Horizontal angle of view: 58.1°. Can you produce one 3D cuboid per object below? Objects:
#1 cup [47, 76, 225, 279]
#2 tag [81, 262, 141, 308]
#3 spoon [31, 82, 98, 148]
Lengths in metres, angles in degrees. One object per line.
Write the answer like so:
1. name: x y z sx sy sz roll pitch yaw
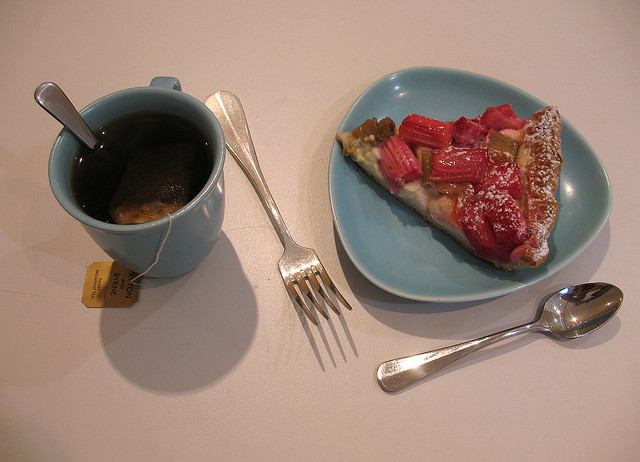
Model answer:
1. cup: -0.414 -0.129 1.470 0.372 0.491 0.332 11 -13 11
2. tag: -0.540 0.137 1.488 0.144 0.122 0.010 -7 -19 -2
3. spoon: -0.562 -0.251 1.328 0.024 0.067 0.222 10 -29 31
